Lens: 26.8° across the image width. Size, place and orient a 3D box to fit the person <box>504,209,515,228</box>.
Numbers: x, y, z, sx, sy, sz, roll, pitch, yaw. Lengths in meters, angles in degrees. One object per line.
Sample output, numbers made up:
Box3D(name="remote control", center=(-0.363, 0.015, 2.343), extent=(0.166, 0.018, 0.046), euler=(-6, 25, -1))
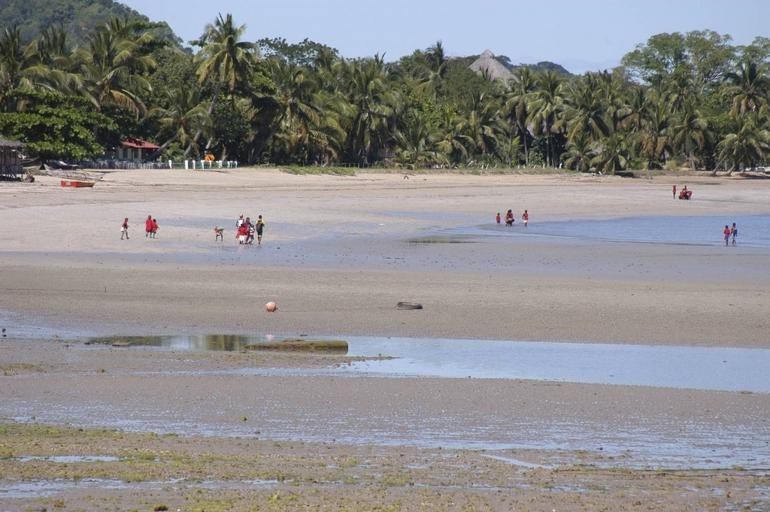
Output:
Box3D(name="person", center=(9.787, -2.984, 127.374), extent=(0.706, 0.870, 1.713), euler=(0, 0, 2))
